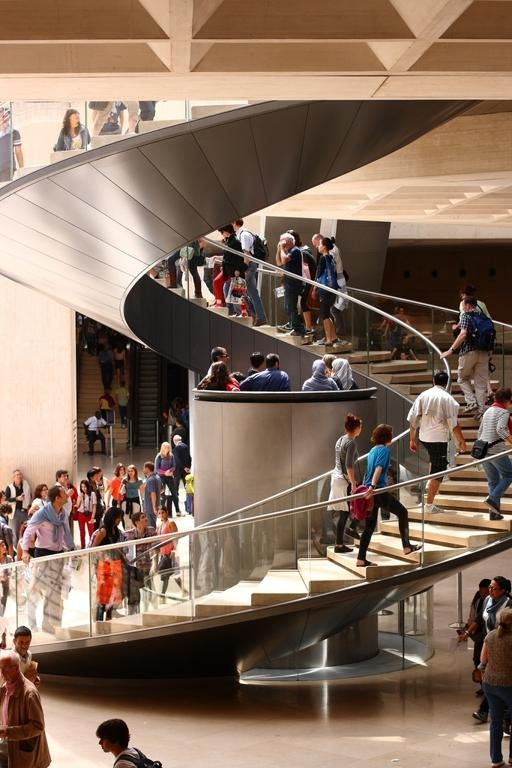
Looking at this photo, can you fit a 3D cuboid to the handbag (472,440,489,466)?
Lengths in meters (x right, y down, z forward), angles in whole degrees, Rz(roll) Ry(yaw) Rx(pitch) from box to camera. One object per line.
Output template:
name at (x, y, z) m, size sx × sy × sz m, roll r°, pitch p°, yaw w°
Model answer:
handbag at (2.121, 0.630, 7.845) m, size 0.165 × 0.194 × 0.133 m, roll -4°, pitch -7°, yaw 29°

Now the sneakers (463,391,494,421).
sneakers at (2.680, 0.278, 10.049) m, size 0.287 × 0.204 × 0.655 m, roll 23°, pitch -6°, yaw 8°

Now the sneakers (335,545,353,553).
sneakers at (0.787, 1.481, 7.423) m, size 0.149 × 0.056 × 0.069 m, roll -1°, pitch -2°, yaw 1°

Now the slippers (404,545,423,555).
slippers at (1.413, 1.494, 7.446) m, size 0.167 × 0.064 × 0.069 m, roll -24°, pitch 11°, yaw -10°

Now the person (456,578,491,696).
person at (2.139, 2.396, 7.989) m, size 0.420 × 1.025 × 0.380 m, roll 0°, pitch 12°, yaw 24°

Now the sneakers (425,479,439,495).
sneakers at (1.684, 0.979, 7.910) m, size 0.154 × 0.142 × 0.153 m, roll -1°, pitch 2°, yaw 7°

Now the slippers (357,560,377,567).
slippers at (0.989, 1.610, 7.435) m, size 0.185 × 0.065 × 0.053 m, roll -2°, pitch 7°, yaw -9°

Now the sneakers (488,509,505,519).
sneakers at (2.267, 1.237, 7.794) m, size 0.126 × 0.108 × 0.063 m, roll -2°, pitch 1°, yaw -21°

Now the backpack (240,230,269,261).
backpack at (0.027, -2.134, 12.768) m, size 0.597 × 0.506 × 0.379 m, roll -3°, pitch 15°, yaw -15°

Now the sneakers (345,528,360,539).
sneakers at (0.863, 1.338, 7.383) m, size 0.160 × 0.064 × 0.052 m, roll 33°, pitch -12°, yaw 1°
